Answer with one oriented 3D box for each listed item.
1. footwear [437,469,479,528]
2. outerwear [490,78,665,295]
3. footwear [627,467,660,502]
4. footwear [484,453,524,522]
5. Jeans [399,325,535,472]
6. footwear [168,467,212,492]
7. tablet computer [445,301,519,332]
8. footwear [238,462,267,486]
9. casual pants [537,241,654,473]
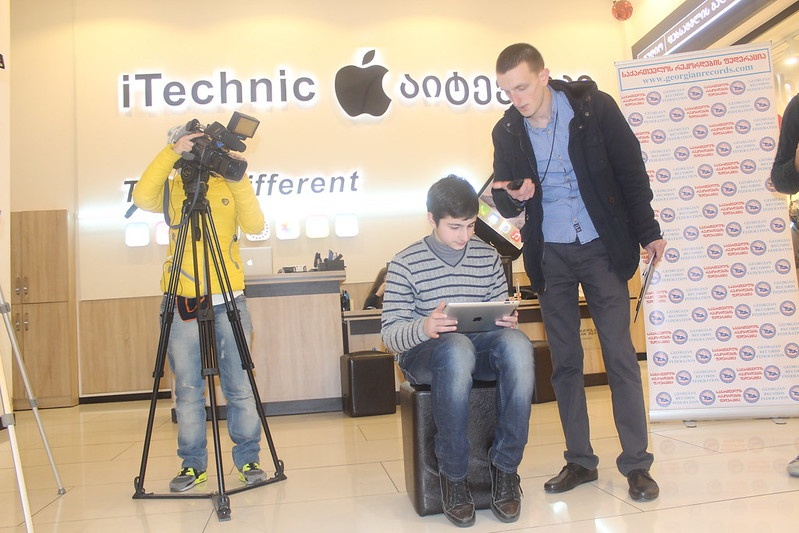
[{"bbox_3d":[0.327,1.304,3.626,0.190,0.282,0.156,-3,7,-4],"label":"footwear"},{"bbox_3d":[1.084,-0.502,4.009,0.974,1.315,0.265,-2,7,7],"label":"outerwear"},{"bbox_3d":[1.413,1.286,3.795,0.103,0.079,0.211,-7,1,0],"label":"footwear"},{"bbox_3d":[0.583,1.277,3.667,0.116,0.144,0.357,0,14,-5],"label":"footwear"},{"bbox_3d":[0.382,0.789,3.950,0.659,0.942,0.941,2,-7,-18],"label":"Jeans"},{"bbox_3d":[-1.373,1.396,4.225,0.097,0.117,0.258,-5,-9,27],"label":"footwear"},{"bbox_3d":[0.449,0.279,3.627,0.299,0.211,0.196,2,-31,-12],"label":"tablet computer"},{"bbox_3d":[-0.976,1.373,4.298,0.166,0.129,0.261,-6,8,-23],"label":"footwear"},{"bbox_3d":[1.195,0.460,4.118,0.604,2.145,0.426,-5,18,15],"label":"casual pants"}]
